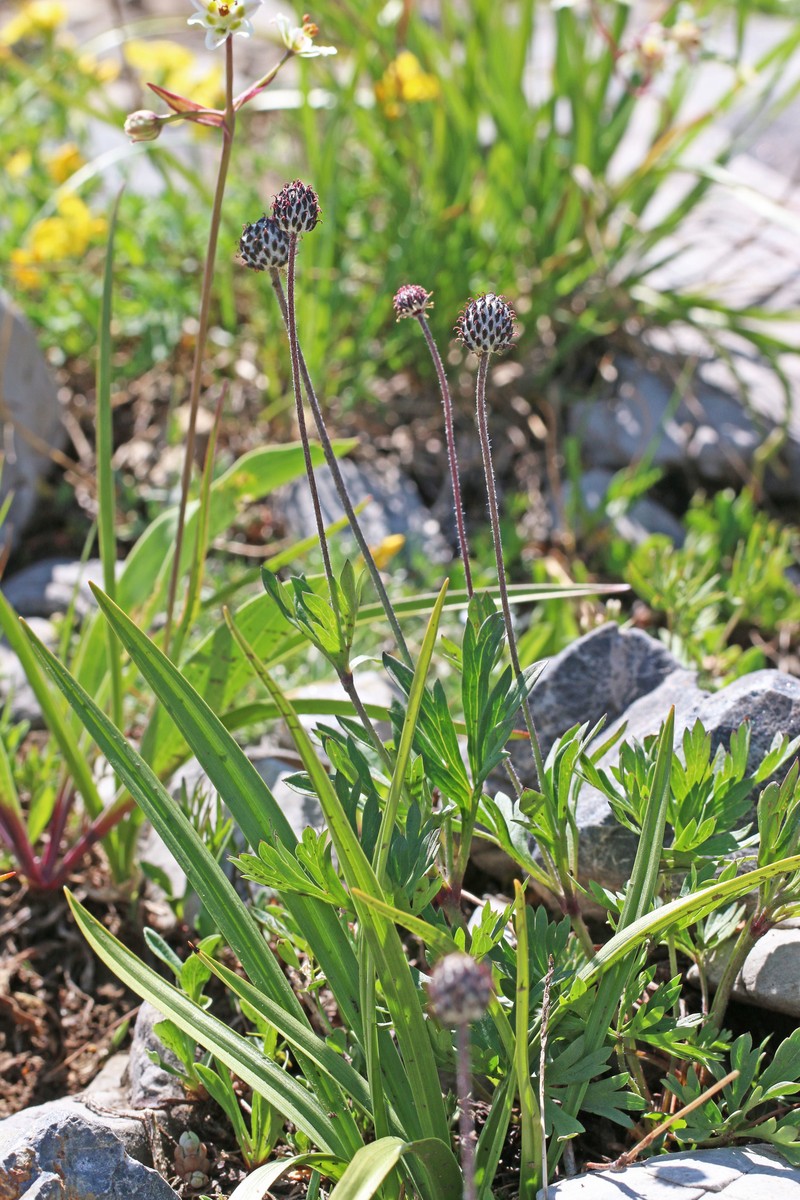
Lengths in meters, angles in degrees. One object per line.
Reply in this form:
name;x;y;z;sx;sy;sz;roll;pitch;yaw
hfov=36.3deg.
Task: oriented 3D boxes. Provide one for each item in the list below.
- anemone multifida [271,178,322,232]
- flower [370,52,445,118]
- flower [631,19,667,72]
anemone multifida;-0.109;-0.388;1.208;0.052;0.054;0.048;6;13;35
flower;-0.009;-1.253;3.001;0.083;0.169;0.174;41;52;16
flower;0.390;-0.877;1.931;0.041;0.056;0.067;0;62;9
